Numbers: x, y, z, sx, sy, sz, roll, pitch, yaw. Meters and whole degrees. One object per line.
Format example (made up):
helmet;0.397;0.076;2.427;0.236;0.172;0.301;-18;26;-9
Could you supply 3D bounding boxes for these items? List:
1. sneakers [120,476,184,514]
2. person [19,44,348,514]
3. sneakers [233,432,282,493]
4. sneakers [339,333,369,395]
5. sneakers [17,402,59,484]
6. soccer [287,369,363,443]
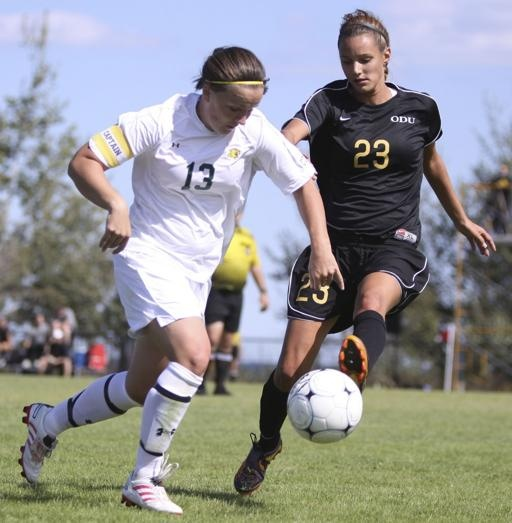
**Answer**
sneakers;-0.507;1.135;5.268;0.335;0.133;0.122;8;-2;26
person;-0.380;0.073;5.498;1.473;2.342;0.761;6;-1;-7
sneakers;-0.002;1.064;5.798;0.132;0.197;0.404;16;26;14
sneakers;0.468;0.491;5.357;0.114;0.303;0.129;12;9;35
sneakers;-1.173;0.963;5.823;0.244;0.478;0.159;-3;-7;35
soccer;0.334;0.689;5.416;0.369;0.350;0.365;-17;-8;-2
